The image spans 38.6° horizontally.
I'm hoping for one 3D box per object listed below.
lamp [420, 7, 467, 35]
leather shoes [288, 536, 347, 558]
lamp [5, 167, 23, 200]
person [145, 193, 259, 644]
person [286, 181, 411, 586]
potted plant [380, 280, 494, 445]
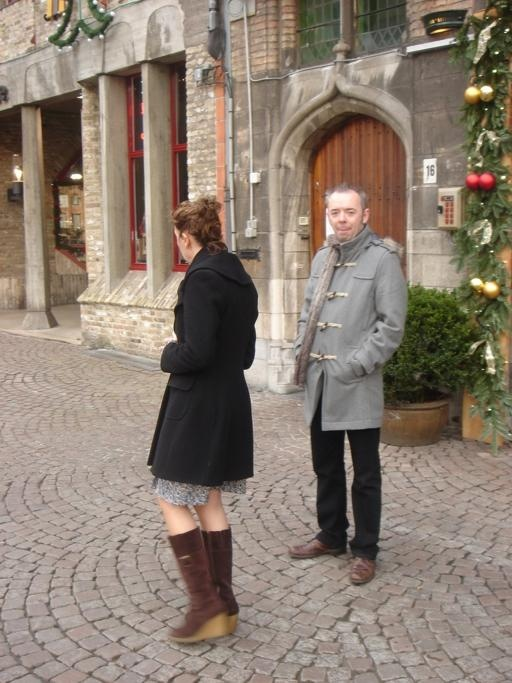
[{"bbox_3d":[1.563,-2.657,6.094,0.170,0.184,0.454,-5,7,-32],"label":"lamp"},{"bbox_3d":[0.298,1.068,3.780,0.327,0.127,0.106,2,-3,-11],"label":"leather shoes"},{"bbox_3d":[-6.193,-3.990,18.726,0.365,0.785,1.109,-4,6,-19],"label":"lamp"},{"bbox_3d":[-0.212,0.317,2.805,0.339,1.729,0.425,2,7,30],"label":"person"},{"bbox_3d":[0.443,0.196,3.541,0.397,1.849,0.583,-6,8,-35],"label":"person"},{"bbox_3d":[1.368,0.201,6.270,1.200,1.459,1.274,3,4,14],"label":"potted plant"}]
